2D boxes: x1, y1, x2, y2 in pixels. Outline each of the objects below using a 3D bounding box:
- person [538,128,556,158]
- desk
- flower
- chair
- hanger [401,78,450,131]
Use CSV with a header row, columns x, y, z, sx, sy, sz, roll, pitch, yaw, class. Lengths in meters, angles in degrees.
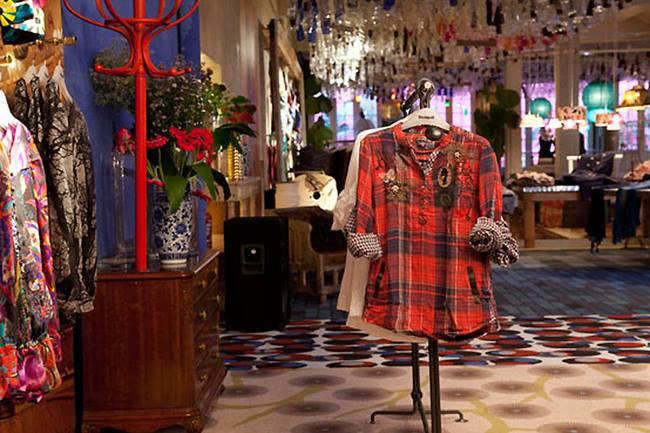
x,y,z,sx,sy,sz,roll,pitch,yaw,class
5.530,-1.830,15.870,0.352,0.785,1.233,-1,4,19,person
4.049,-0.006,10.415,1.759,0.965,3.339,-2,4,-1,desk
-0.904,-0.557,4.210,0.851,0.995,1.283,-1,4,16,flower
-0.078,0.493,7.032,0.614,0.897,0.421,-2,4,2,chair
0.551,-0.653,3.657,0.288,0.163,0.440,-1,8,1,hanger
